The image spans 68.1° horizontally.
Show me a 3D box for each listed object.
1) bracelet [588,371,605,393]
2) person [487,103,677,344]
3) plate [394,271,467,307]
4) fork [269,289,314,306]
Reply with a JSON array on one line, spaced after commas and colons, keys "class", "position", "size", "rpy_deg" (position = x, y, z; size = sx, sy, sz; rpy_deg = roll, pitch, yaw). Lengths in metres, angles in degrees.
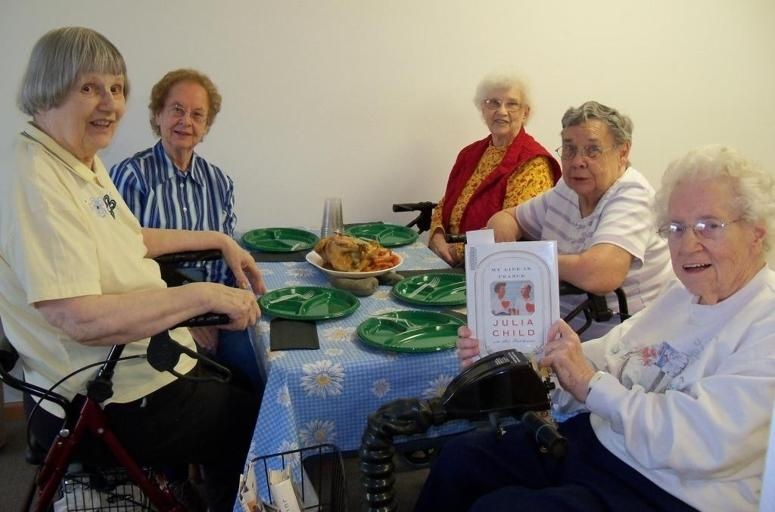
[{"class": "bracelet", "position": [0.666, 0.393, 1.807], "size": [0.027, 0.058, 0.053], "rpy_deg": [31, 11, 7]}, {"class": "person", "position": [0.903, -0.065, 2.706], "size": [0.866, 1.257, 0.754], "rpy_deg": [-11, 20, -27]}, {"class": "plate", "position": [0.192, 0.159, 2.374], "size": [0.303, 0.042, 0.362], "rpy_deg": [-13, 6, -3]}, {"class": "fork", "position": [-0.395, 0.167, 2.333], "size": [0.172, 0.024, 0.026], "rpy_deg": [-13, 5, -31]}]
